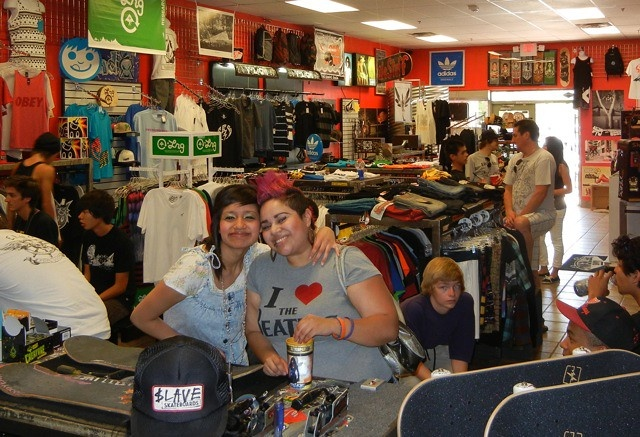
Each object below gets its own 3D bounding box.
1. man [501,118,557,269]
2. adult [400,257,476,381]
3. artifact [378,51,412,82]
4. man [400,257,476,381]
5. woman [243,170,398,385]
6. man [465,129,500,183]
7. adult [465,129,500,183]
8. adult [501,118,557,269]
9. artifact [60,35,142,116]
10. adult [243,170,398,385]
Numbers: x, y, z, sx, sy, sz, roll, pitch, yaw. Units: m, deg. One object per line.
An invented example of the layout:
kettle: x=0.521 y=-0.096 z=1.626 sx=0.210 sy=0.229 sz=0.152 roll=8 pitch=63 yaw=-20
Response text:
man: x=2.558 y=-0.285 z=5.821 sx=0.598 sy=1.874 sz=1.328 roll=1 pitch=7 yaw=24
adult: x=0.902 y=0.745 z=3.627 sx=0.555 sy=0.871 sz=0.334 roll=-1 pitch=7 yaw=9
artifact: x=2.070 y=-4.023 z=12.755 sx=0.531 sy=0.746 sz=1.026 roll=8 pitch=-3 yaw=-22
man: x=0.902 y=0.745 z=3.627 sx=0.555 sy=0.871 sz=0.334 roll=-1 pitch=7 yaw=9
woman: x=-0.019 y=0.295 z=2.079 sx=0.697 sy=1.000 sz=0.506 roll=-2 pitch=7 yaw=-1
man: x=2.704 y=-1.044 z=8.017 sx=0.475 sy=0.891 sz=0.710 roll=1 pitch=8 yaw=26
adult: x=2.700 y=-1.043 z=8.008 sx=0.475 sy=0.891 sz=0.691 roll=1 pitch=8 yaw=26
adult: x=2.555 y=-0.284 z=5.816 sx=0.598 sy=1.874 sz=1.315 roll=1 pitch=7 yaw=24
artifact: x=-3.334 y=-2.134 z=7.260 sx=0.258 sy=1.099 sz=1.259 roll=2 pitch=8 yaw=33
adult: x=-0.019 y=0.295 z=2.079 sx=0.697 sy=1.000 sz=0.507 roll=-2 pitch=7 yaw=-1
